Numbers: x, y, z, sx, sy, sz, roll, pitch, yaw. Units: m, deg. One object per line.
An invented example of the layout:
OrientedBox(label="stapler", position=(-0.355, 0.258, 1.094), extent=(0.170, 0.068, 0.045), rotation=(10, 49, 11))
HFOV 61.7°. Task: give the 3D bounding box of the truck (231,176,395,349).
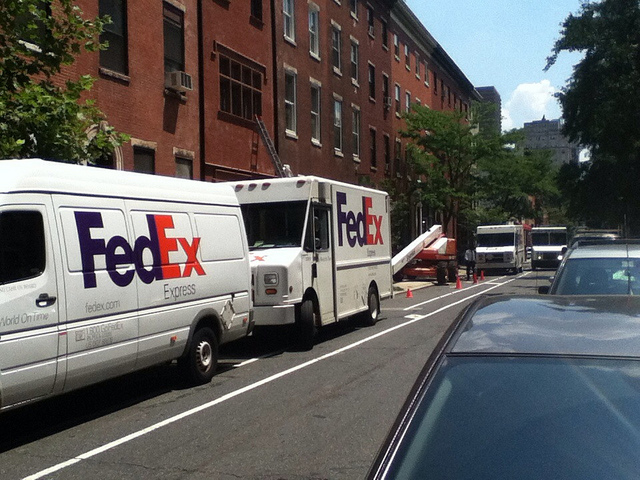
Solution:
OrientedBox(label="truck", position=(-0.124, 0.521, 14.055), extent=(2.310, 3.962, 6.440), rotation=(-4, -2, 27))

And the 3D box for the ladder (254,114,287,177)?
OrientedBox(label="ladder", position=(-2.149, -4.111, 23.347), extent=(1.337, 2.761, 1.126), rotation=(-1, 0, 8))

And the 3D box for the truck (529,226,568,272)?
OrientedBox(label="truck", position=(19.099, 1.116, 44.712), extent=(2.779, 3.788, 6.483), rotation=(0, -9, 22))

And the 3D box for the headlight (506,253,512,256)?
OrientedBox(label="headlight", position=(13.178, 0.992, 37.146), extent=(0.413, 0.174, 0.114), rotation=(-2, 0, -13))

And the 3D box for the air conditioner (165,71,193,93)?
OrientedBox(label="air conditioner", position=(-4.852, -5.490, 18.609), extent=(0.483, 0.719, 1.165), rotation=(-2, -1, 24))

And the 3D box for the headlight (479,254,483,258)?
OrientedBox(label="headlight", position=(11.366, 1.109, 37.650), extent=(0.159, 0.179, 0.042), rotation=(-11, 0, -36))

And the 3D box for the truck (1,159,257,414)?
OrientedBox(label="truck", position=(-2.681, 0.672, 7.789), extent=(0.639, 3.473, 4.095), rotation=(-1, 0, 31))

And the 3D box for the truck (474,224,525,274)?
OrientedBox(label="truck", position=(13.646, 0.645, 40.162), extent=(2.865, 3.799, 6.410), rotation=(-3, -1, 29))
